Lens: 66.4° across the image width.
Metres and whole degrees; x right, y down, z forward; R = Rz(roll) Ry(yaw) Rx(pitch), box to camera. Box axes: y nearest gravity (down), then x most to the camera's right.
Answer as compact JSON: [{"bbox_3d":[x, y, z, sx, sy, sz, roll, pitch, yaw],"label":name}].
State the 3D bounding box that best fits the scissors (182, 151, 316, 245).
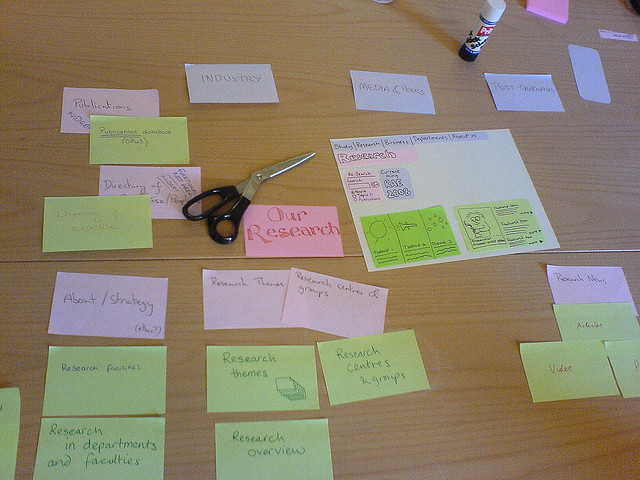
[{"bbox_3d":[-0.131,-0.082,0.867,0.205,0.020,0.095,-30,71,-16],"label":"scissors"}]
